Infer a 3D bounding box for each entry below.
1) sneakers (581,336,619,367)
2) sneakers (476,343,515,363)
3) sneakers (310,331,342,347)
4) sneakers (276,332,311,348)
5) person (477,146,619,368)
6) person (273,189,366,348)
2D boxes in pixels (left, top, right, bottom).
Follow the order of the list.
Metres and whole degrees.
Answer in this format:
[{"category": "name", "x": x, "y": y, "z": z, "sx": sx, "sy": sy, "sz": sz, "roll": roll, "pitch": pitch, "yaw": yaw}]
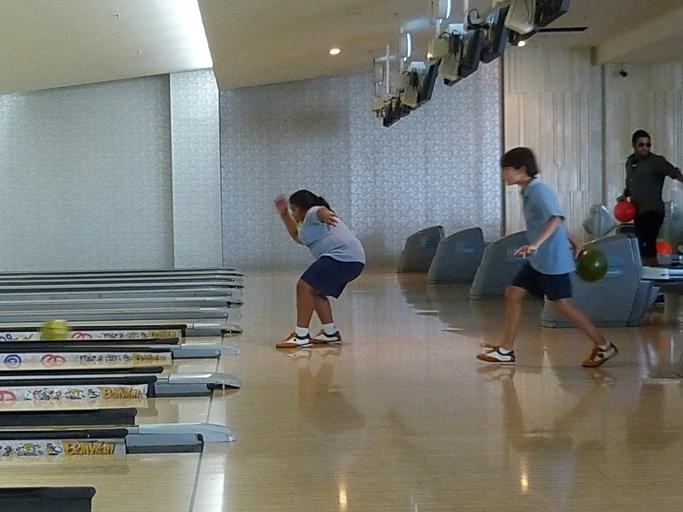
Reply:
[{"category": "sneakers", "x": 1.483, "y": 0.573, "z": 3.781, "sx": 0.253, "sy": 0.113, "sz": 0.097, "roll": -32, "pitch": 24, "yaw": 20}, {"category": "sneakers", "x": 0.931, "y": 0.592, "z": 3.911, "sx": 0.274, "sy": 0.099, "sz": 0.093, "roll": 2, "pitch": -3, "yaw": 9}, {"category": "sneakers", "x": -0.103, "y": 0.593, "z": 4.575, "sx": 0.254, "sy": 0.091, "sz": 0.083, "roll": 1, "pitch": -2, "yaw": -2}, {"category": "sneakers", "x": -0.329, "y": 0.589, "z": 4.435, "sx": 0.260, "sy": 0.093, "sz": 0.088, "roll": 1, "pitch": -7, "yaw": -6}, {"category": "person", "x": 1.199, "y": 0.010, "z": 3.823, "sx": 0.668, "sy": 1.262, "sz": 0.486, "roll": 0, "pitch": 6, "yaw": -18}, {"category": "person", "x": -0.152, "y": 0.078, "z": 4.566, "sx": 0.629, "sy": 1.076, "sz": 0.658, "roll": 1, "pitch": 5, "yaw": -2}]
